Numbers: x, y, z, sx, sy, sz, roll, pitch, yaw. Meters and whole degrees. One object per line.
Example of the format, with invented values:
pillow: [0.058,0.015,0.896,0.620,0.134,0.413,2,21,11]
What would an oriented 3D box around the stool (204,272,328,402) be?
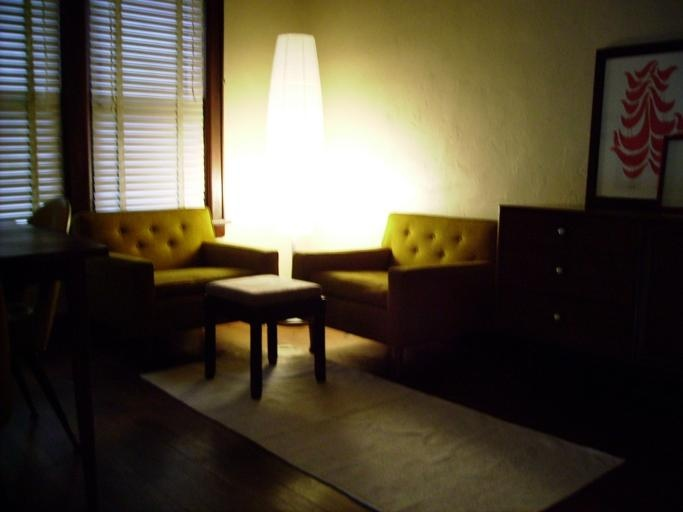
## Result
stool: [-0.446,0.387,3.276,0.620,0.744,0.609,0,1,-39]
